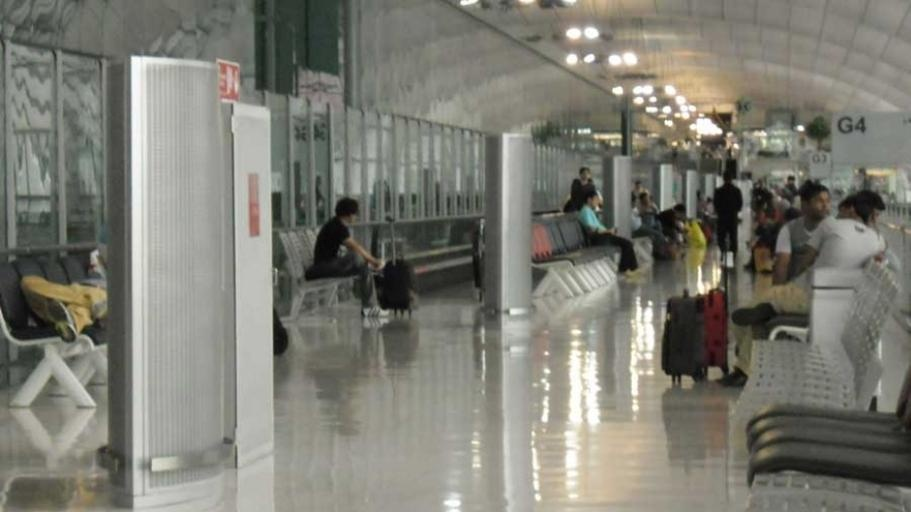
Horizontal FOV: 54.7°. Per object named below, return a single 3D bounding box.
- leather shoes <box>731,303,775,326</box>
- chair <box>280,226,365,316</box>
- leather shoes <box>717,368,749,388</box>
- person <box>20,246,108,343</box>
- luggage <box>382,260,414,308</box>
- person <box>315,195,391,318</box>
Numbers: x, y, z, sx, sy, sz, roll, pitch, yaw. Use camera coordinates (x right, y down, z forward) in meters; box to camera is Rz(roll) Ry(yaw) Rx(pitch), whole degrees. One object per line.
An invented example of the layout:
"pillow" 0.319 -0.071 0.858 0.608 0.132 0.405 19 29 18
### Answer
"leather shoes" 3.106 0.621 9.231 0.375 0.226 0.096 -11 -39 17
"chair" -2.247 0.213 13.894 1.285 1.886 1.340 0 4 15
"leather shoes" 2.991 1.342 9.546 0.365 0.161 0.133 6 -7 -42
"person" -4.165 0.534 9.442 0.930 0.588 0.553 3 9 20
"luggage" -0.902 0.541 13.435 0.456 0.904 0.606 7 16 -3
"person" -1.668 -0.012 13.146 1.084 1.616 0.507 0 8 6
